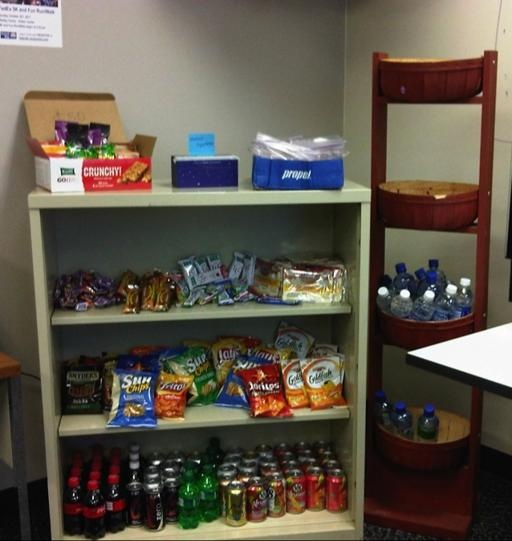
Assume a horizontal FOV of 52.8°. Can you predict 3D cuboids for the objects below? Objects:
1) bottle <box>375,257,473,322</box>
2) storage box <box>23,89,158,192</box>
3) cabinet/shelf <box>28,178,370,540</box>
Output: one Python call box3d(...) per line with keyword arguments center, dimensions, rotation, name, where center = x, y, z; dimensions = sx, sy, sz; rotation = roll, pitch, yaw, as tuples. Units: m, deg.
box3d(center=(0.619, 0.023, 1.858), dimensions=(0.236, 0.138, 0.242), rotation=(0, 15, 0), name="bottle")
box3d(center=(-0.583, -0.466, 1.824), dimensions=(0.410, 0.369, 0.435), rotation=(-9, 13, -26), name="storage box")
box3d(center=(-0.246, 0.345, 1.987), dimensions=(1.030, 1.546, 0.404), rotation=(-2, 9, -10), name="cabinet/shelf")
